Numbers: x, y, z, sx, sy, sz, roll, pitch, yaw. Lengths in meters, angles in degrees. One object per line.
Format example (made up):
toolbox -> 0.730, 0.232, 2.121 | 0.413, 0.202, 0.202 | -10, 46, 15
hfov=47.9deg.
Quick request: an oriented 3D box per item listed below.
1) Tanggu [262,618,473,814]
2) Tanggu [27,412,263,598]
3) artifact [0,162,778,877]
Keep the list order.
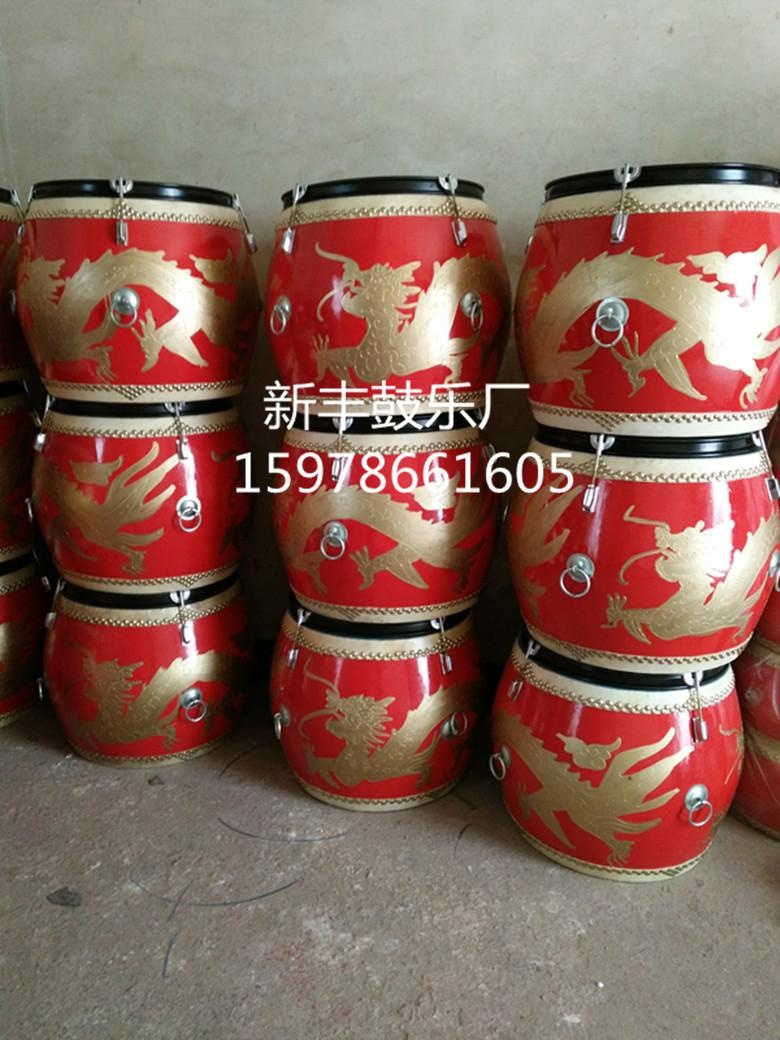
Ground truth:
Tanggu -> -0.030, 0.323, 1.786 | 0.383, 0.319, 0.390 | 7, 10, 43
Tanggu -> -0.532, -0.057, 1.901 | 0.462, 0.357, 0.442 | -4, 11, -26
artifact -> 0.082, 0.015, 1.964 | 1.361, 1.269, 0.730 | 3, 9, 18
